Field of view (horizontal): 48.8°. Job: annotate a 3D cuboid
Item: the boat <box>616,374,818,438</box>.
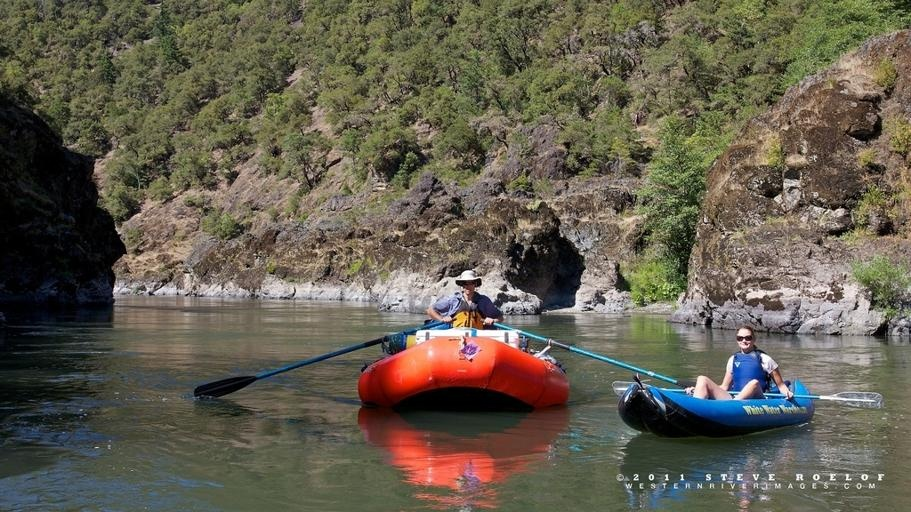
[{"bbox_3d":[15.805,9.204,62.891,10.286,2.683,4.415,6,-13,-16],"label":"boat"}]
